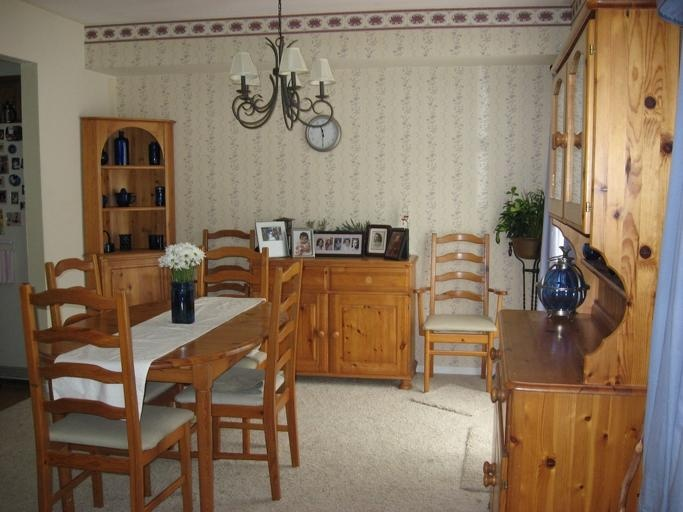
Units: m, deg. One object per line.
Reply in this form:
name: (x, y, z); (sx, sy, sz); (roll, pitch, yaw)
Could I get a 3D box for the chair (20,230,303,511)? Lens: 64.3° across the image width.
chair: (-0.892, 0.726, 2.897); (1.327, 1.337, 0.789); (-7, 12, -33)

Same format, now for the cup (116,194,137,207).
cup: (-2.032, -0.530, 5.158); (0.166, 0.117, 0.115); (1, -3, -40)

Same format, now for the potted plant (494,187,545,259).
potted plant: (1.597, -0.299, 4.748); (0.515, 0.743, 0.554); (3, 6, 29)

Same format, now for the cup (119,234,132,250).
cup: (-2.021, -0.132, 5.113); (0.125, 0.183, 0.144); (4, 6, 44)

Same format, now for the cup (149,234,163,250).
cup: (-1.756, -0.143, 5.208); (0.129, 0.156, 0.130); (4, 8, -1)
